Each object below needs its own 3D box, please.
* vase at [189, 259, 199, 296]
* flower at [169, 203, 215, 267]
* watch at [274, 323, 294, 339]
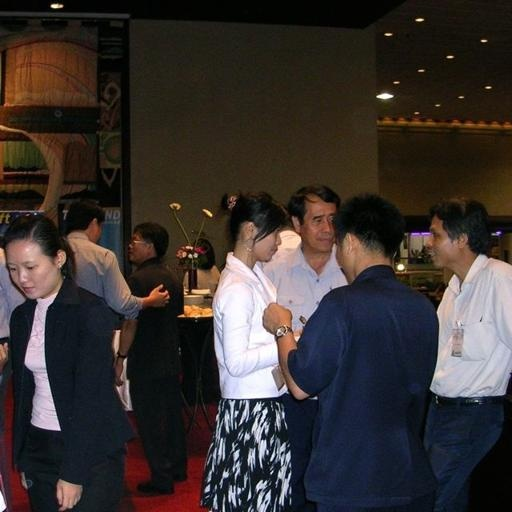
[{"bbox_3d":[-0.592,0.182,5.374,0.080,0.319,0.240,0,4,-7],"label":"vase"},{"bbox_3d":[-0.700,-0.232,6.156,0.613,0.840,0.431,1,-7,-2],"label":"flower"},{"bbox_3d":[0.092,0.254,1.920,0.053,0.035,0.057,18,-45,-37],"label":"watch"}]
